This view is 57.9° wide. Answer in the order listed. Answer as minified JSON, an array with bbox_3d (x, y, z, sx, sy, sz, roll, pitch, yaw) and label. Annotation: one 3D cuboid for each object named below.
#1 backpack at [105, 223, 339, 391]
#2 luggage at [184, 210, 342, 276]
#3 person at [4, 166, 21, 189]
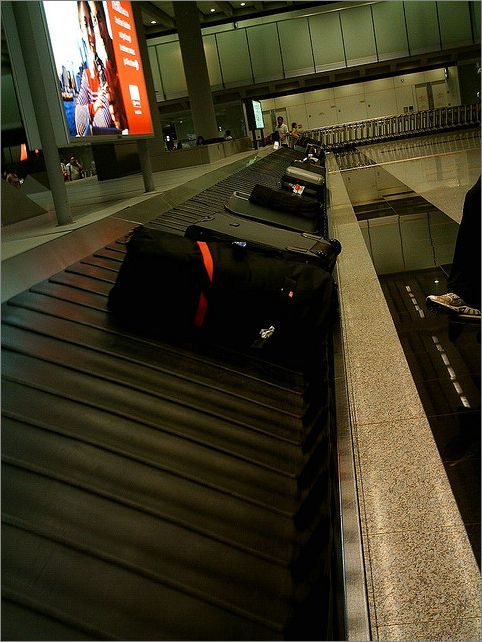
[{"bbox_3d":[-0.046,-0.072,1.691,0.773,0.474,0.312,14,-1,-5],"label":"backpack"},{"bbox_3d":[0.131,-0.407,2.165,0.536,0.170,0.410,18,32,8],"label":"luggage"},{"bbox_3d":[-3.929,-2.452,7.466,0.186,0.343,1.143,-19,23,-22],"label":"person"}]
